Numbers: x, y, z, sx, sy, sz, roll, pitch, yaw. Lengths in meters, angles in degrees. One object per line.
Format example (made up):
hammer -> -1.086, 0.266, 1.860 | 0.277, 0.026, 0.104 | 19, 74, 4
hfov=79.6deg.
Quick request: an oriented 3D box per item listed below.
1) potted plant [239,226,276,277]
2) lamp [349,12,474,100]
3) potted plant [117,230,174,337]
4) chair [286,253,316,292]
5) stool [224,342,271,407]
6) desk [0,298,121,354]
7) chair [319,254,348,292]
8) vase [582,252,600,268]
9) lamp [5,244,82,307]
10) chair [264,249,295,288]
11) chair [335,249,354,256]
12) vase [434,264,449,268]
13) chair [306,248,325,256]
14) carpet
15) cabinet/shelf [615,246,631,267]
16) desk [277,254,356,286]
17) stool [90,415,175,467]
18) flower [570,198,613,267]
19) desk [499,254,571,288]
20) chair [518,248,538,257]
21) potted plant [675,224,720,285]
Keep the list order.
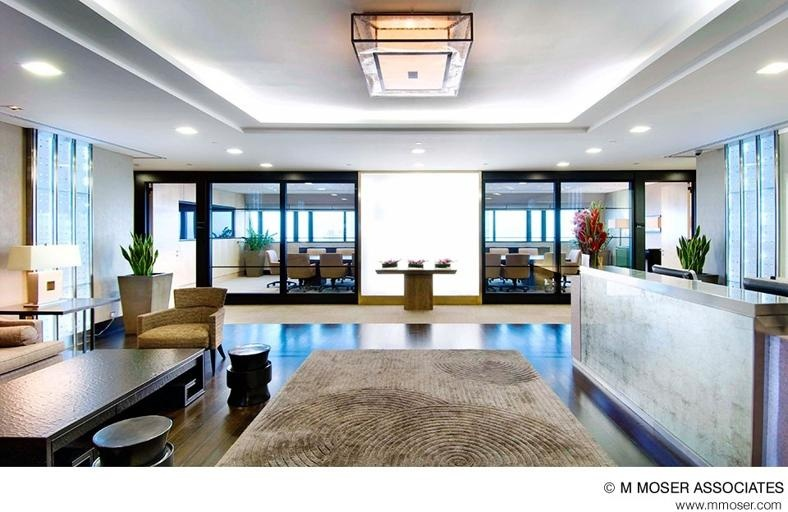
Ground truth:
potted plant -> -2.883, -0.105, 9.740 | 0.615, 0.787, 0.518 | 0, -1, -42
lamp -> 0.166, -2.014, 4.725 | 1.116, 0.481, 0.899 | 0, 4, 1
potted plant -> -3.874, 0.460, 7.410 | 0.805, 1.363, 0.809 | -1, 3, 43
chair -> -1.873, 0.367, 9.611 | 0.634, 0.703, 0.593 | -1, -10, 6
stool -> -1.542, 1.257, 5.025 | 0.512, 0.504, 0.507 | 2, 4, 32
desk -> -4.029, 0.701, 5.805 | 0.954, 0.798, 0.896 | -1, -2, -9
chair -> -1.240, 0.347, 9.695 | 0.707, 0.715, 0.701 | 0, -6, -33
vase -> 2.383, 0.058, 5.694 | 0.274, 0.177, 0.140 | -1, -3, 8
lamp -> -4.296, 0.232, 5.745 | 0.330, 0.743, 0.808 | 1, 1, 5
chair -> -2.292, 0.273, 9.872 | 0.753, 0.738, 0.734 | 0, 2, 27
chair -> -0.979, -0.064, 9.502 | 0.426, 0.121, 0.161 | 1, -3, -7
vase -> 0.871, 0.175, 8.608 | 0.256, 0.080, 0.219 | 0, 4, 2
chair -> -1.566, -0.085, 9.492 | 0.317, 0.190, 0.161 | 0, -3, 1
carpet -> 0.321, 1.280, 4.475 | 2.616, 0.065, 2.694 | 11, -1, -6
cabinet/shelf -> 4.563, 0.007, 9.435 | 0.306, 0.403, 0.142 | 3, 4, 36
desk -> -1.562, 0.296, 9.626 | 1.248, 0.566, 0.538 | 0, -6, -2
stool -> -1.961, 1.419, 3.552 | 0.520, 0.301, 0.302 | -1, 4, -21
flower -> 2.387, -0.261, 5.757 | 0.369, 0.776, 0.574 | 1, 4, 21
desk -> 2.759, 0.228, 9.525 | 1.234, 0.708, 0.633 | 0, -14, 13
chair -> 2.679, -0.087, 9.387 | 0.303, 0.179, 0.152 | 0, -4, 2
potted plant -> 4.971, 0.139, 7.868 | 0.610, 0.959, 0.461 | -7, 9, -3
